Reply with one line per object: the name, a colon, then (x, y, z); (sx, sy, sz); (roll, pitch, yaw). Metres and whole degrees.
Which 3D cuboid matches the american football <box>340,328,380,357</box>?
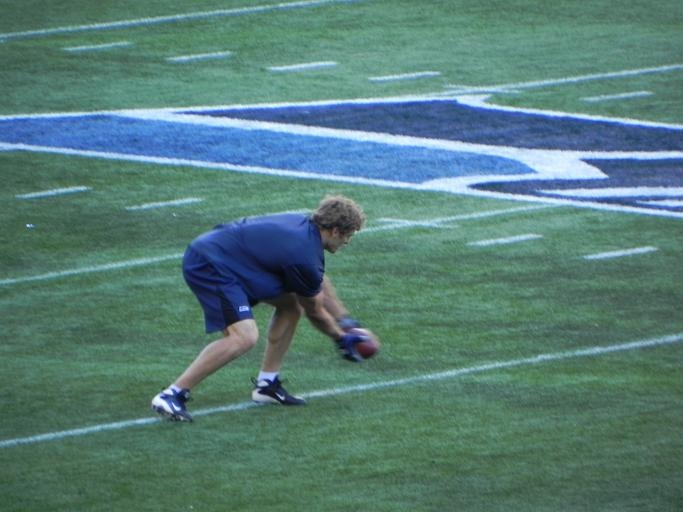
american football: (0.296, 1.049, 20.540); (0.410, 0.338, 0.169); (35, 54, 15)
